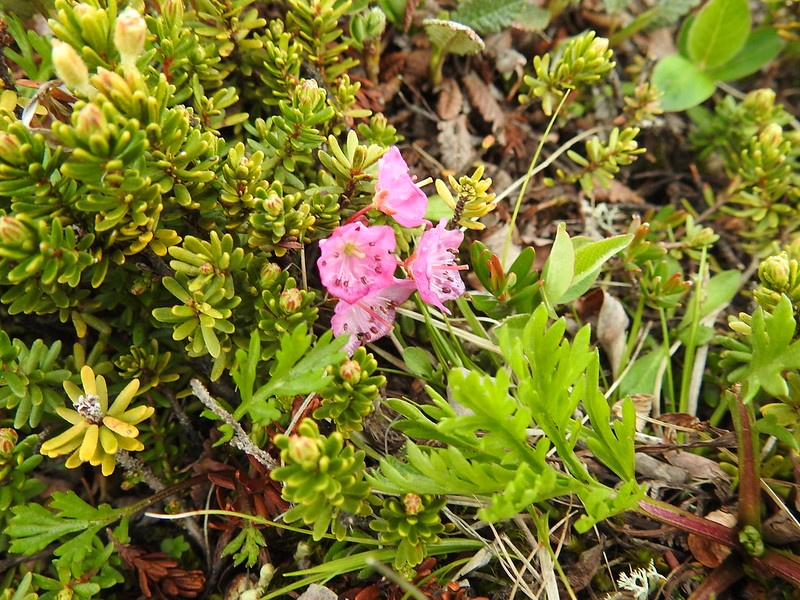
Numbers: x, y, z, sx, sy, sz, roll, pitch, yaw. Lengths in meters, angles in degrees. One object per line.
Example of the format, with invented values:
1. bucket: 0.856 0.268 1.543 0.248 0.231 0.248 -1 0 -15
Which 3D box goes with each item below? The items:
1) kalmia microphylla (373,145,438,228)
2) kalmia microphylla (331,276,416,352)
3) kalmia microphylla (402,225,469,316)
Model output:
1. kalmia microphylla: -0.009 -0.412 2.767 0.127 0.277 0.249 -20 31 21
2. kalmia microphylla: -0.121 0.046 2.785 0.320 0.258 0.117 -55 27 -16
3. kalmia microphylla: 0.156 -0.132 2.763 0.303 0.284 0.329 6 98 37
